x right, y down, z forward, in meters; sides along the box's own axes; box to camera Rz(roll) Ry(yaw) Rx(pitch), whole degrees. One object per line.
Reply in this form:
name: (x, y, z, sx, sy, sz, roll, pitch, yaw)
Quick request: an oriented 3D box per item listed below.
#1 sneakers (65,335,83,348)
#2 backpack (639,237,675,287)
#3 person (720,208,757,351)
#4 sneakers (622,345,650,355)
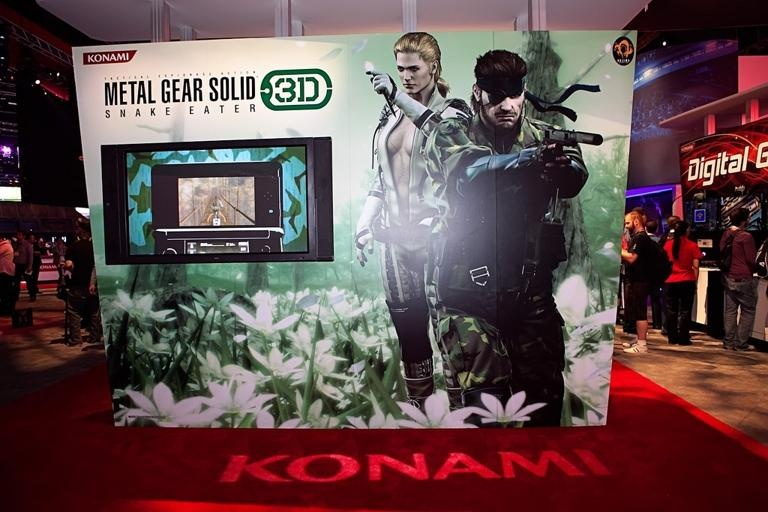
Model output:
sneakers: (-4.782, 1.319, 7.774, 0.216, 0.107, 0.126, -3, 1, 10)
backpack: (3.986, 0.113, 7.387, 0.440, 0.812, 0.558, -9, 9, 25)
person: (5.184, 0.478, 7.369, 0.422, 1.751, 0.327, 0, 1, 34)
sneakers: (3.613, 1.300, 7.218, 0.323, 0.129, 0.140, 2, 1, 43)
